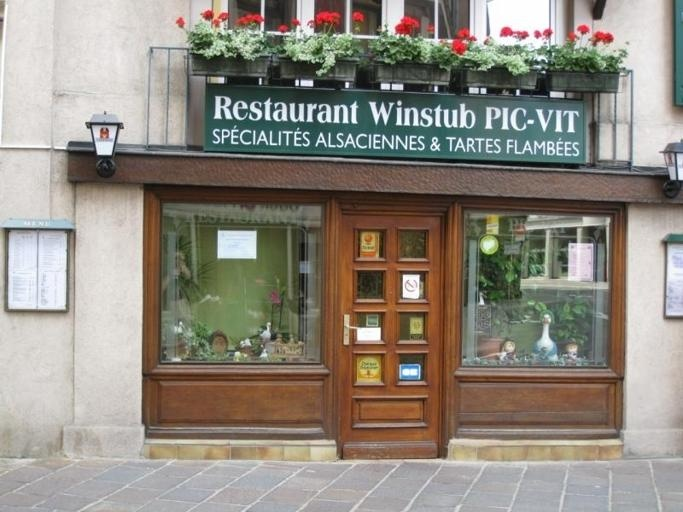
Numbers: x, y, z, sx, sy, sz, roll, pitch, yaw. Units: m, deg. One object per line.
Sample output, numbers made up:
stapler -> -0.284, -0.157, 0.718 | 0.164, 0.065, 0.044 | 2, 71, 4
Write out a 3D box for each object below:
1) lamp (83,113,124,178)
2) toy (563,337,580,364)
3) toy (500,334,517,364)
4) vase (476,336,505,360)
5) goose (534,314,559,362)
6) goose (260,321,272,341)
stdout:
lamp -> -2.699, -1.262, 11.127 | 0.394, 0.724, 0.344 | -2, 1, -14
toy -> 2.781, 1.164, 11.895 | 0.256, 0.445, 0.236 | 2, -6, 11
toy -> 2.006, 1.159, 11.866 | 0.210, 0.281, 0.111 | 9, -3, -17
vase -> 1.788, 1.115, 11.823 | 0.271, 0.189, 0.263 | 4, -4, -22
goose -> 2.468, 0.998, 11.905 | 0.275, 0.480, 0.110 | -2, 1, -13
goose -> -0.961, 0.918, 11.700 | 0.109, 0.263, 0.195 | 12, -18, -42
